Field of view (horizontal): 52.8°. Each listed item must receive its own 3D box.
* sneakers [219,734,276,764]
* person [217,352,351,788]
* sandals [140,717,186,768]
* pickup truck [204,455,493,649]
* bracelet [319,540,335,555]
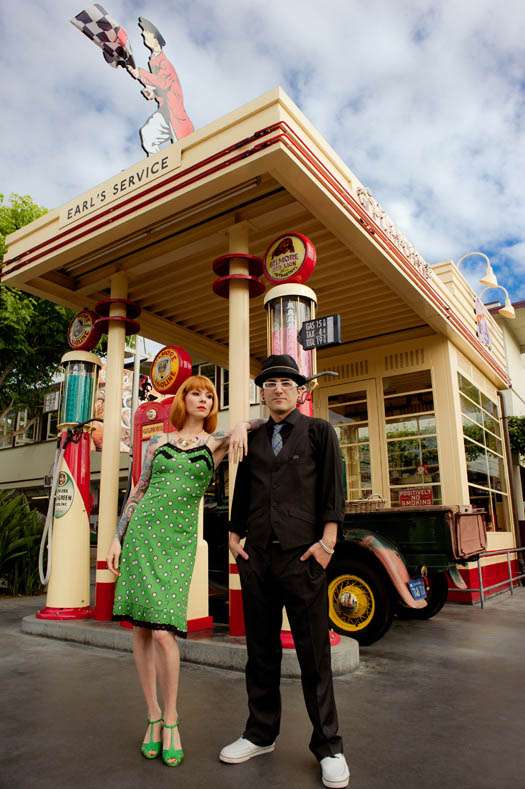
[{"bbox_3d":[-0.059,1.392,2.089,0.219,0.073,0.080,17,-21,-37],"label":"sneakers"},{"bbox_3d":[0.075,0.741,2.133,0.609,1.400,0.261,-6,-12,32],"label":"person"},{"bbox_3d":[-0.385,1.361,2.063,0.111,0.079,0.206,-1,-23,1],"label":"sandals"},{"bbox_3d":[0.646,1.331,5.418,3.032,1.554,1.821,-2,-13,22],"label":"pickup truck"},{"bbox_3d":[0.247,0.592,2.017,0.050,0.018,0.049,46,-5,1],"label":"bracelet"}]
